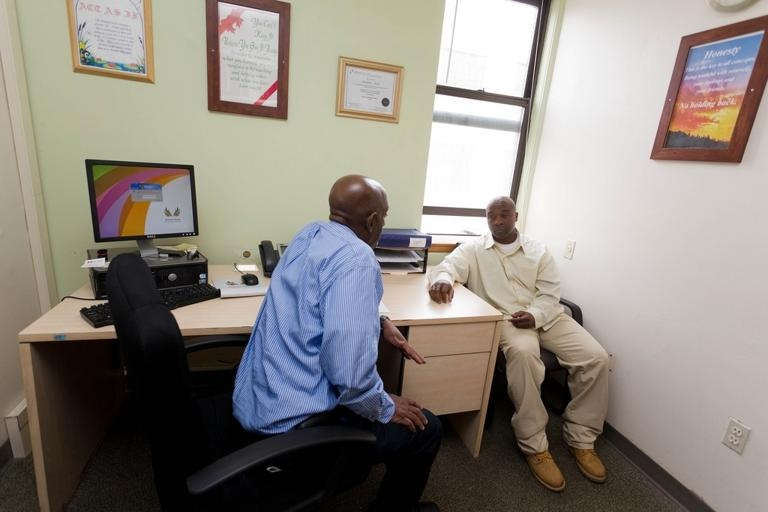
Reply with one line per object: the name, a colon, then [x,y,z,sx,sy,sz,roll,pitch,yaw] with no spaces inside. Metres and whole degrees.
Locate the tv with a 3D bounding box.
tv: [-1.343,-0.272,2.661,0.551,0.533,0.122,-5,15,-31]

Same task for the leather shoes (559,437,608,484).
leather shoes: [1.197,1.212,2.847,0.098,0.088,0.244,-4,7,-13]

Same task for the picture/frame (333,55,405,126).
picture/frame: [-0.112,-1.075,3.081,0.435,0.370,0.032,3,9,-17]

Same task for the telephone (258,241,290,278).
telephone: [-0.679,0.003,2.942,0.170,0.092,0.233,-2,51,-27]

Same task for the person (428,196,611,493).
person: [0.768,0.442,3.045,1.173,1.608,0.990,-3,4,-20]
